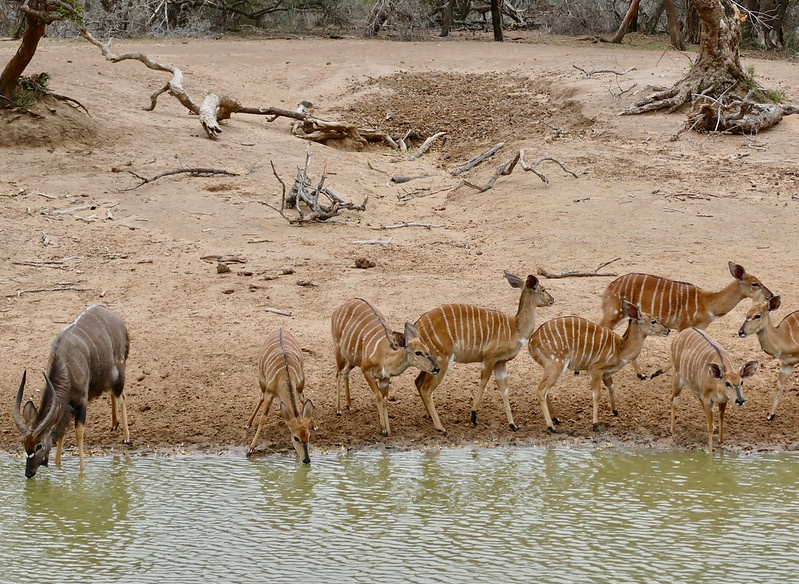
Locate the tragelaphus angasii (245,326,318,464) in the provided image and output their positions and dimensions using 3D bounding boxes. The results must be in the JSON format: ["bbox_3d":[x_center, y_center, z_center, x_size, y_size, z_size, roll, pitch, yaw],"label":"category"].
[{"bbox_3d":[-1.273,1.103,11.315,0.633,0.924,1.530,-4,40,-11],"label":"tragelaphus angasii"}]
